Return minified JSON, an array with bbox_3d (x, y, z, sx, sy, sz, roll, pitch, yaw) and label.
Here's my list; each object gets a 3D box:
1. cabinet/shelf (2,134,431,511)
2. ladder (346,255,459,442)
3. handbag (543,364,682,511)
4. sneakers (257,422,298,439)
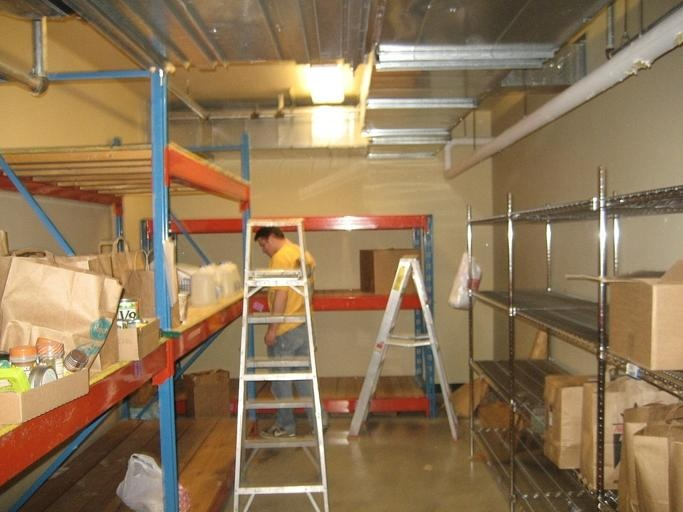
[{"bbox_3d":[-0.874,0.503,4.204,2.871,2.880,0.911,-2,-1,-3],"label":"cabinet/shelf"},{"bbox_3d":[0.619,0.789,5.363,1.008,1.681,1.155,1,9,12],"label":"ladder"},{"bbox_3d":[1.541,0.858,3.367,0.512,0.927,0.930,0,-1,1],"label":"handbag"},{"bbox_3d":[-0.556,1.473,4.787,0.287,0.131,0.130,4,-8,7],"label":"sneakers"}]
